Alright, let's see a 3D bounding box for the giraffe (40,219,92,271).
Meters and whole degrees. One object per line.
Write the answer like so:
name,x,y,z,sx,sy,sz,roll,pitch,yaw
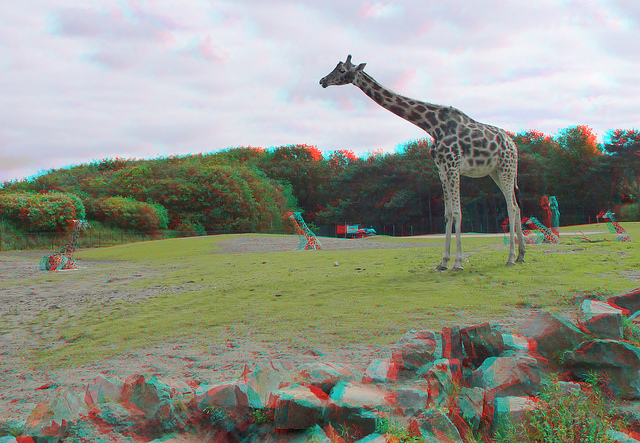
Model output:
giraffe,-8.963,0.858,15.061,1.463,1.725,2.512,-5,5,-19
